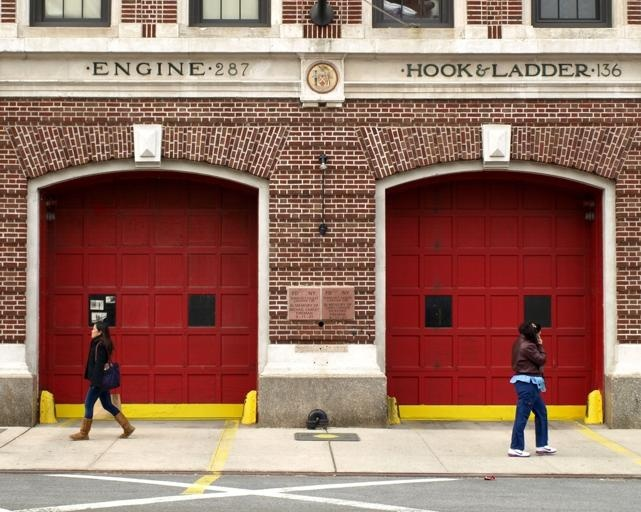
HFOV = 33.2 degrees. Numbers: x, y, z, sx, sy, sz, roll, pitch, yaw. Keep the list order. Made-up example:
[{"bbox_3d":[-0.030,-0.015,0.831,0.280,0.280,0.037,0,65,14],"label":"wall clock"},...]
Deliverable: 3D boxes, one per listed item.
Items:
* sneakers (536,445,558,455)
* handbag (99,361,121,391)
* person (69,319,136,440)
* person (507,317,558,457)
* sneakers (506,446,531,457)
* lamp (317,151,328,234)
[{"bbox_3d":[3.481,2.985,16.626,0.330,0.153,0.123,-1,2,-15],"label":"sneakers"},{"bbox_3d":[-3.323,1.913,17.198,0.191,0.427,0.423,2,8,14],"label":"handbag"},{"bbox_3d":[-3.486,2.004,17.323,0.824,1.924,0.725,4,8,27],"label":"person"},{"bbox_3d":[3.280,2.043,16.666,0.670,2.042,0.786,2,7,13],"label":"person"},{"bbox_3d":[3.045,2.990,16.509,0.337,0.167,0.129,2,0,-1],"label":"sneakers"},{"bbox_3d":[0.051,-1.052,18.627,0.148,1.420,0.291,0,7,0],"label":"lamp"}]
